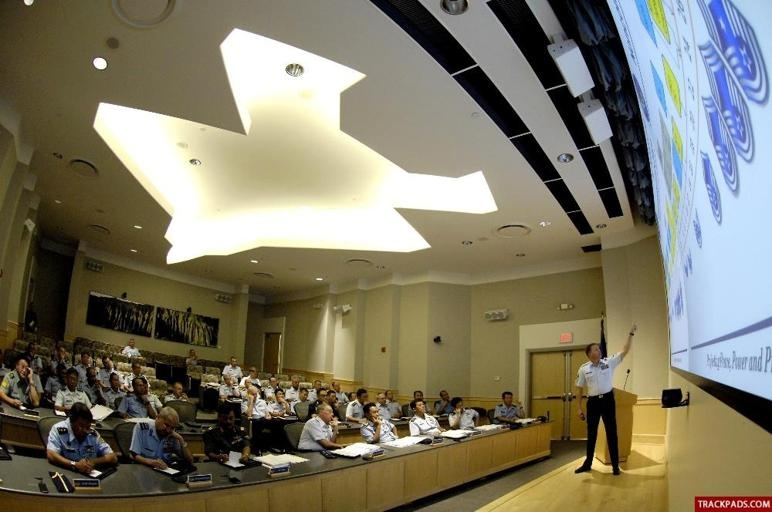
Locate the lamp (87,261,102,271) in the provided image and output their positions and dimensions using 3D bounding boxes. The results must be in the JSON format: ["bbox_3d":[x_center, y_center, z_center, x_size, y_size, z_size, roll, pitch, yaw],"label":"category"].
[{"bbox_3d":[-8.317,0.307,14.097,0.037,0.170,0.244,-15,-22,29],"label":"lamp"}]

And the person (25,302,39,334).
[{"bbox_3d":[-8.660,1.506,12.099,0.239,0.793,0.901,10,-18,-35],"label":"person"}]

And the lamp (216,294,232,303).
[{"bbox_3d":[-5.676,1.480,17.235,0.120,0.310,0.520,-1,-8,42],"label":"lamp"}]

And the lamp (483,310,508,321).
[{"bbox_3d":[2.968,1.614,13.413,0.210,0.336,0.703,13,-20,-41],"label":"lamp"}]

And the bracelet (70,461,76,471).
[{"bbox_3d":[-2.634,1.761,4.186,0.042,0.065,0.065,-20,-41,-15],"label":"bracelet"}]

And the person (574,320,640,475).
[{"bbox_3d":[2.669,1.900,6.196,0.810,1.545,0.895,-1,-15,1],"label":"person"}]
